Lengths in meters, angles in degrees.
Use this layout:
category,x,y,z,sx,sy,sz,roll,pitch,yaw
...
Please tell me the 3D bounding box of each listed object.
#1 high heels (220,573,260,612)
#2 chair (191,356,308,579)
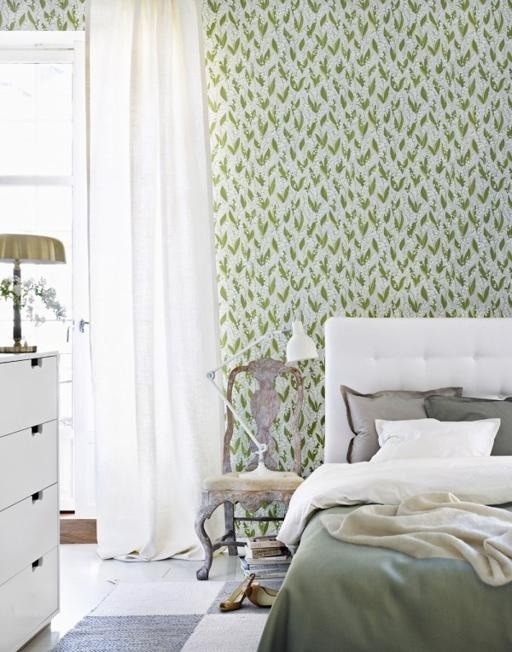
category,x,y,z,sx,sy,sz,roll,pitch,yaw
high heels,-0.063,1.102,2.341,0.183,0.065,0.061,-38,18,-30
chair,-0.006,0.678,2.765,0.529,1.063,0.558,6,-11,-13
